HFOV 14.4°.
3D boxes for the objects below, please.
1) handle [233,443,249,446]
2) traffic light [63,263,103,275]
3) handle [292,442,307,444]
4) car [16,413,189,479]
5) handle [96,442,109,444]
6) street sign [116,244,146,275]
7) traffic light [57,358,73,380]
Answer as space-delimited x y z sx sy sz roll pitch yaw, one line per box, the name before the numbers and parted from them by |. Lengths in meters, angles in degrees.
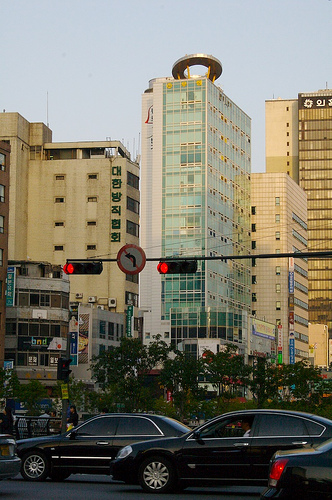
handle | 1.464 3.814 25.899 0.304 0.049 0.091 -1 -9 7
traffic light | -2.052 0.433 32.380 0.580 0.338 1.067 8 -12 -37
handle | 2.570 3.721 25.461 0.274 0.030 0.064 -8 -13 40
car | -1.411 4.164 28.217 3.581 1.302 1.576 -2 -11 13
handle | -1.362 4.059 27.772 0.254 0.031 0.021 -2 -9 14
street sign | -0.866 0.215 31.910 0.704 0.898 0.096 4 -34 -3
traffic light | -3.052 3.484 38.874 0.544 0.922 0.492 0 -4 4
